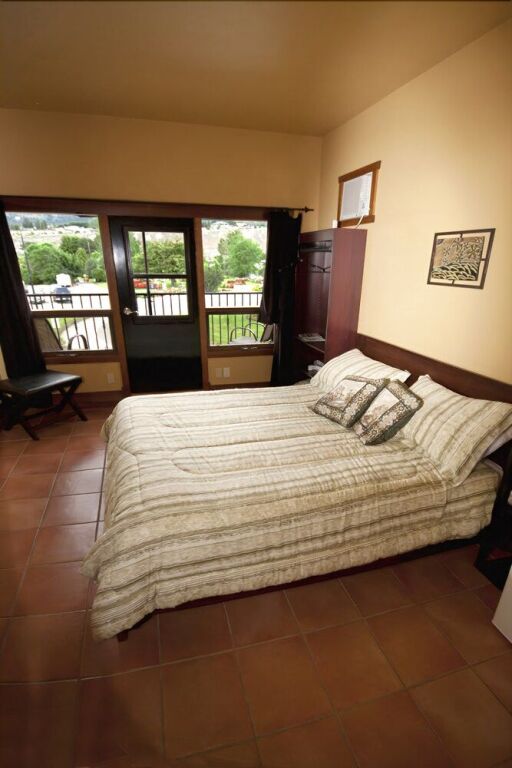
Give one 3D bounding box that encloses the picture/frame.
[{"bbox_3d":[1.128,-0.684,2.607,0.020,0.308,0.374,-7,16,-21],"label":"picture/frame"}]
